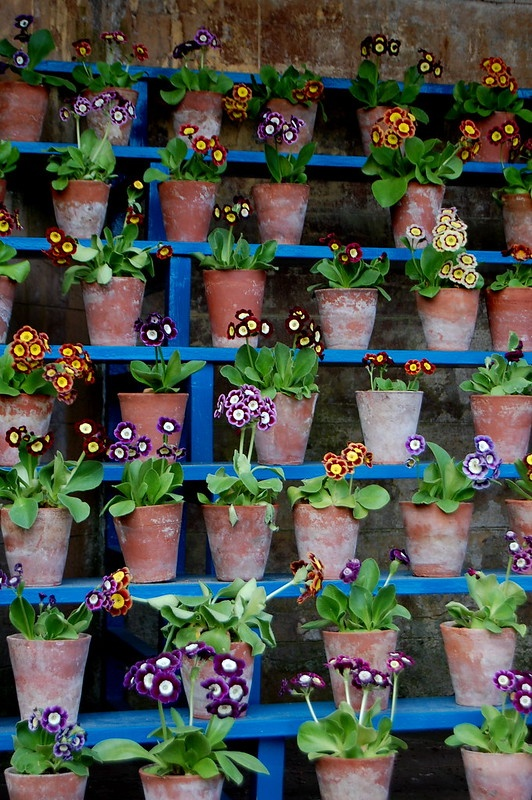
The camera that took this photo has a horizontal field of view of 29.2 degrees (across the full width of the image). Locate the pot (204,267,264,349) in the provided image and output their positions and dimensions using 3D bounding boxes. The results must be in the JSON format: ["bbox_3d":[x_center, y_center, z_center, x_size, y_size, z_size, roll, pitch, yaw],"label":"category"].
[{"bbox_3d":[-0.087,-0.252,2.968,0.228,0.219,0.206,-1,14,2],"label":"pot"}]

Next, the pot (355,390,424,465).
[{"bbox_3d":[0.361,0.074,2.914,0.219,0.194,0.194,-1,2,-19],"label":"pot"}]

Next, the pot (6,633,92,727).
[{"bbox_3d":[-0.489,0.618,2.298,0.226,0.187,0.198,3,-5,-27],"label":"pot"}]

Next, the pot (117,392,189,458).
[{"bbox_3d":[-0.289,0.078,2.726,0.200,0.167,0.176,3,-11,19],"label":"pot"}]

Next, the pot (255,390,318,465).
[{"bbox_3d":[0.061,0.082,2.742,0.210,0.176,0.185,1,-1,-1],"label":"pot"}]

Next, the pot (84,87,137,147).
[{"bbox_3d":[-0.458,-0.842,3.064,0.198,0.178,0.184,0,14,0],"label":"pot"}]

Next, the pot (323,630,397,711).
[{"bbox_3d":[0.231,0.672,2.542,0.207,0.180,0.197,0,-12,0],"label":"pot"}]

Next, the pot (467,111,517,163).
[{"bbox_3d":[0.782,-0.865,3.361,0.168,0.160,0.145,13,23,34],"label":"pot"}]

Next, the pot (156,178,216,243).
[{"bbox_3d":[-0.225,-0.547,2.963,0.166,0.178,0.159,4,41,-3],"label":"pot"}]

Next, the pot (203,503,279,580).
[{"bbox_3d":[-0.062,0.377,2.635,0.211,0.184,0.201,0,-12,0],"label":"pot"}]

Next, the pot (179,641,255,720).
[{"bbox_3d":[-0.106,0.629,2.409,0.237,0.215,0.213,0,-5,1],"label":"pot"}]

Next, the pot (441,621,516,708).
[{"bbox_3d":[0.548,0.660,2.612,0.232,0.196,0.209,0,-4,14],"label":"pot"}]

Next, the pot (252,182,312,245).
[{"bbox_3d":[0.031,-0.548,3.128,0.203,0.170,0.177,-3,-7,11],"label":"pot"}]

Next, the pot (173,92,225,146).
[{"bbox_3d":[-0.202,-0.874,3.152,0.155,0.147,0.122,-1,42,-9],"label":"pot"}]

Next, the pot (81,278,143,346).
[{"bbox_3d":[-0.431,-0.236,2.875,0.195,0.176,0.189,-1,1,0],"label":"pot"}]

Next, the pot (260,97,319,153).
[{"bbox_3d":[0.076,-0.866,3.252,0.177,0.161,0.181,0,3,0],"label":"pot"}]

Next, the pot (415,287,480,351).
[{"bbox_3d":[0.548,-0.232,3.113,0.202,0.190,0.187,-4,8,1],"label":"pot"}]

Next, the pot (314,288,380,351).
[{"bbox_3d":[0.213,-0.227,3.037,0.204,0.170,0.201,-3,-1,0],"label":"pot"}]

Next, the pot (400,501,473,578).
[{"bbox_3d":[0.467,0.386,2.809,0.211,0.189,0.207,1,-6,0],"label":"pot"}]

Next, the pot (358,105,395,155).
[{"bbox_3d":[0.345,-0.874,3.353,0.093,0.198,0.155,0,42,-7],"label":"pot"}]

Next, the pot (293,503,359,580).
[{"bbox_3d":[0.182,0.366,2.652,0.203,0.191,0.201,0,-6,0],"label":"pot"}]

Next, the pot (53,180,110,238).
[{"bbox_3d":[-0.517,-0.547,2.900,0.182,0.148,0.181,0,-2,0],"label":"pot"}]

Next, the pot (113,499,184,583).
[{"bbox_3d":[-0.277,0.343,2.505,0.220,0.190,0.199,-2,-2,11],"label":"pot"}]

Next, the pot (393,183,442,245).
[{"bbox_3d":[0.461,-0.565,3.141,0.190,0.178,0.170,4,2,6],"label":"pot"}]
